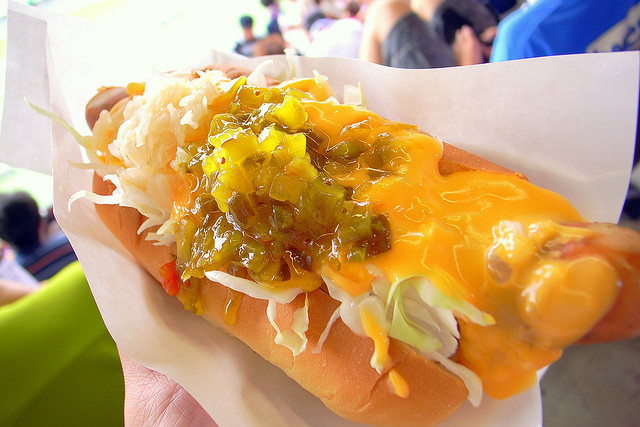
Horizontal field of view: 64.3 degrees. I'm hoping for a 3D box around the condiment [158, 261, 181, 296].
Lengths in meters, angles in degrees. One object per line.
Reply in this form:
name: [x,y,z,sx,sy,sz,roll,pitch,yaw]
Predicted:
condiment: [-0.568,0.242,1.974,0.097,0.130,0.039,4,16,32]
